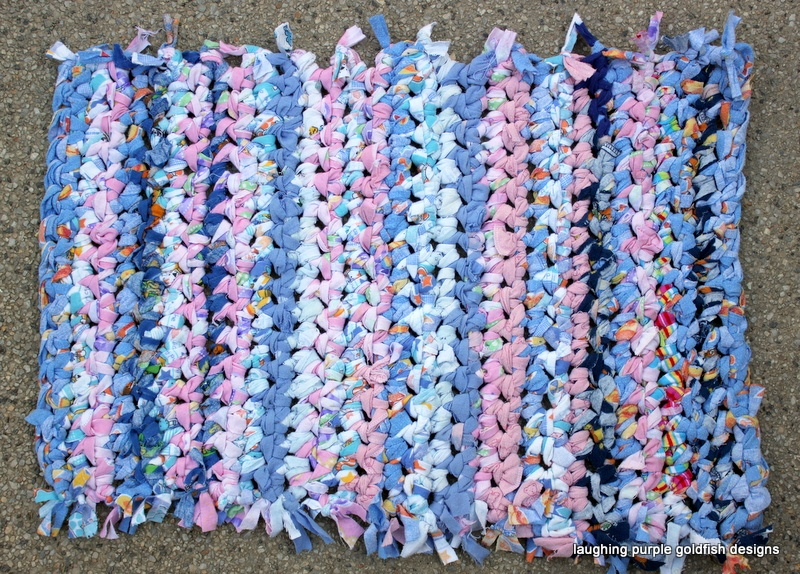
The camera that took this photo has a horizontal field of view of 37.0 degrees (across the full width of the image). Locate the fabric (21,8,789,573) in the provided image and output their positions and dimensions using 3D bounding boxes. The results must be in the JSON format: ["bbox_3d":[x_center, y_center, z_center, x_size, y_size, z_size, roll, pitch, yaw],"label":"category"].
[{"bbox_3d":[-0.003,0.011,2.608,1.747,0.146,1.297,11,85,1],"label":"fabric"}]
